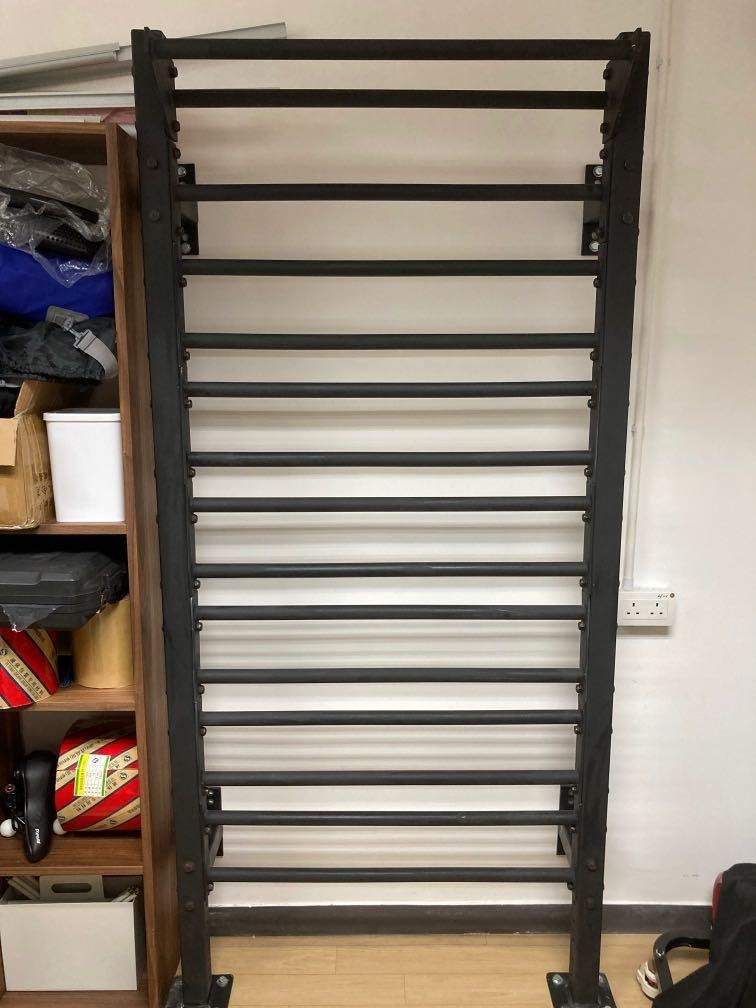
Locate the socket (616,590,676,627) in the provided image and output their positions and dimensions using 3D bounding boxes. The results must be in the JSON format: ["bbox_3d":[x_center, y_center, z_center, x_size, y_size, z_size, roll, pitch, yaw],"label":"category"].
[{"bbox_3d":[0.586,0.229,2.268,0.101,0.029,0.059,0,-81,0],"label":"socket"}]
